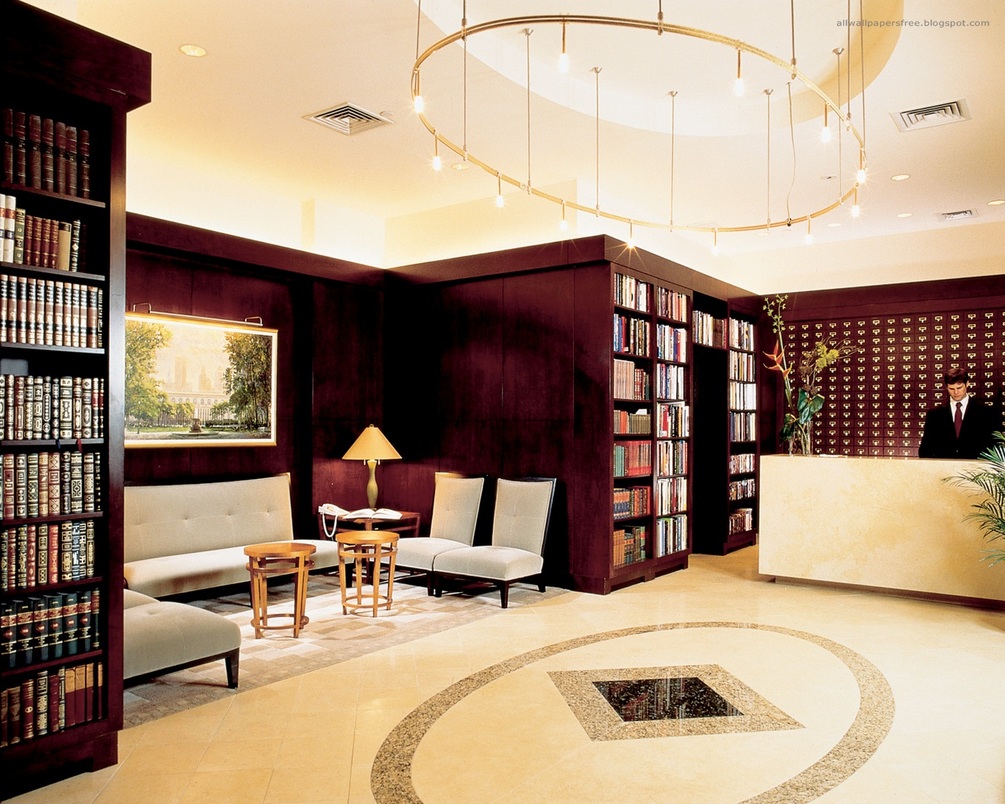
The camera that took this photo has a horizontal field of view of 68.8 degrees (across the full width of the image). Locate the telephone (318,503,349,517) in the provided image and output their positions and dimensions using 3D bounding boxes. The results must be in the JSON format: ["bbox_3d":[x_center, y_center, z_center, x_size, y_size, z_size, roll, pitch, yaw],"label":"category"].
[{"bbox_3d":[-1.617,0.997,6.884,0.190,0.077,0.149,1,-2,35],"label":"telephone"}]

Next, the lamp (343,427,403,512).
[{"bbox_3d":[-1.244,0.630,7.186,0.700,1.051,0.722,0,-5,1],"label":"lamp"}]

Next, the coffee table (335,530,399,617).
[{"bbox_3d":[-1.143,1.395,6.123,0.662,0.801,0.683,-1,-6,1],"label":"coffee table"}]

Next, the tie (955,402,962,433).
[{"bbox_3d":[4.646,0.141,7.437,0.060,0.296,0.066,0,1,31],"label":"tie"}]

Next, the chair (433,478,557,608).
[{"bbox_3d":[-0.057,1.153,6.389,0.811,0.967,0.942,0,1,30],"label":"chair"}]

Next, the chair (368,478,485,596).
[{"bbox_3d":[-0.761,1.102,6.936,0.758,1.365,0.899,1,-11,37],"label":"chair"}]
